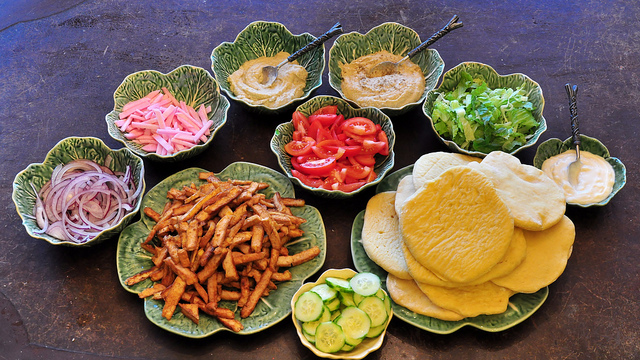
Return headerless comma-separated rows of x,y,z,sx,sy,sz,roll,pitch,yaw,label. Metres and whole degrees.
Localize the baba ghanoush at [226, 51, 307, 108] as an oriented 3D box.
-0.669,-1.202,7.196,0.778,0.271,0.714,18,60,13,baba ghanoush
